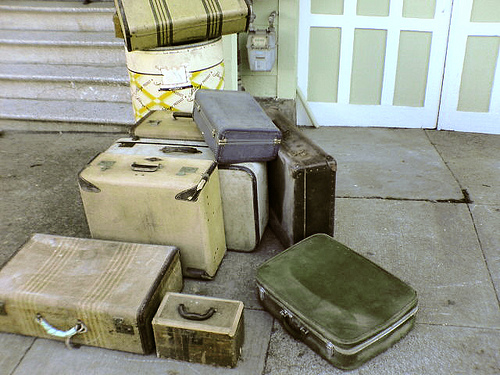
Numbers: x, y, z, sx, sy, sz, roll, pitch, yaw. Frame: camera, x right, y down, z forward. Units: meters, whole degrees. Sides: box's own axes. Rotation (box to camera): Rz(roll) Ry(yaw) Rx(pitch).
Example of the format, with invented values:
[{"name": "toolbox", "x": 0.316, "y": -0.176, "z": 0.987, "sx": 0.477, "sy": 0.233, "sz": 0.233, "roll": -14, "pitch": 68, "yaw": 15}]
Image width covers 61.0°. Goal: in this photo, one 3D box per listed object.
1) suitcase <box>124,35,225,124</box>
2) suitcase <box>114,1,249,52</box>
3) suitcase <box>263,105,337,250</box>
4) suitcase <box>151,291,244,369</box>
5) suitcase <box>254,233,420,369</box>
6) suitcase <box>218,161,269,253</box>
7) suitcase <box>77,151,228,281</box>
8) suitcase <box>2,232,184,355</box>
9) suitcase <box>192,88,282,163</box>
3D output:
[{"name": "suitcase", "x": -0.616, "y": -1.023, "z": 3.987, "sx": 0.748, "sy": 0.806, "sz": 0.723, "roll": -1, "pitch": 24, "yaw": 0}, {"name": "suitcase", "x": -0.540, "y": -1.349, "z": 3.392, "sx": 0.660, "sy": 0.179, "sz": 0.637, "roll": -9, "pitch": 51, "yaw": -14}, {"name": "suitcase", "x": 0.339, "y": 0.084, "z": 3.422, "sx": 0.335, "sy": 0.682, "sz": 0.803, "roll": -4, "pitch": 10, "yaw": -14}, {"name": "suitcase", "x": -0.289, "y": 0.827, "z": 2.608, "sx": 0.630, "sy": 0.399, "sz": 0.387, "roll": 5, "pitch": 32, "yaw": 10}, {"name": "suitcase", "x": 0.533, "y": 0.730, "z": 2.764, "sx": 0.664, "sy": 0.417, "sz": 0.840, "roll": -23, "pitch": 34, "yaw": -33}, {"name": "suitcase", "x": -0.076, "y": 0.117, "z": 3.369, "sx": 0.474, "sy": 0.715, "sz": 0.443, "roll": -4, "pitch": 26, "yaw": 9}, {"name": "suitcase", "x": -0.710, "y": 0.203, "z": 3.209, "sx": 0.971, "sy": 0.848, "sz": 0.533, "roll": 5, "pitch": 32, "yaw": 16}, {"name": "suitcase", "x": -1.064, "y": 0.707, "z": 2.794, "sx": 1.049, "sy": 0.481, "sz": 0.608, "roll": 3, "pitch": 29, "yaw": 11}, {"name": "suitcase", "x": -0.058, "y": -0.487, "z": 3.314, "sx": 0.484, "sy": 0.259, "sz": 0.748, "roll": 0, "pitch": 32, "yaw": -9}]
